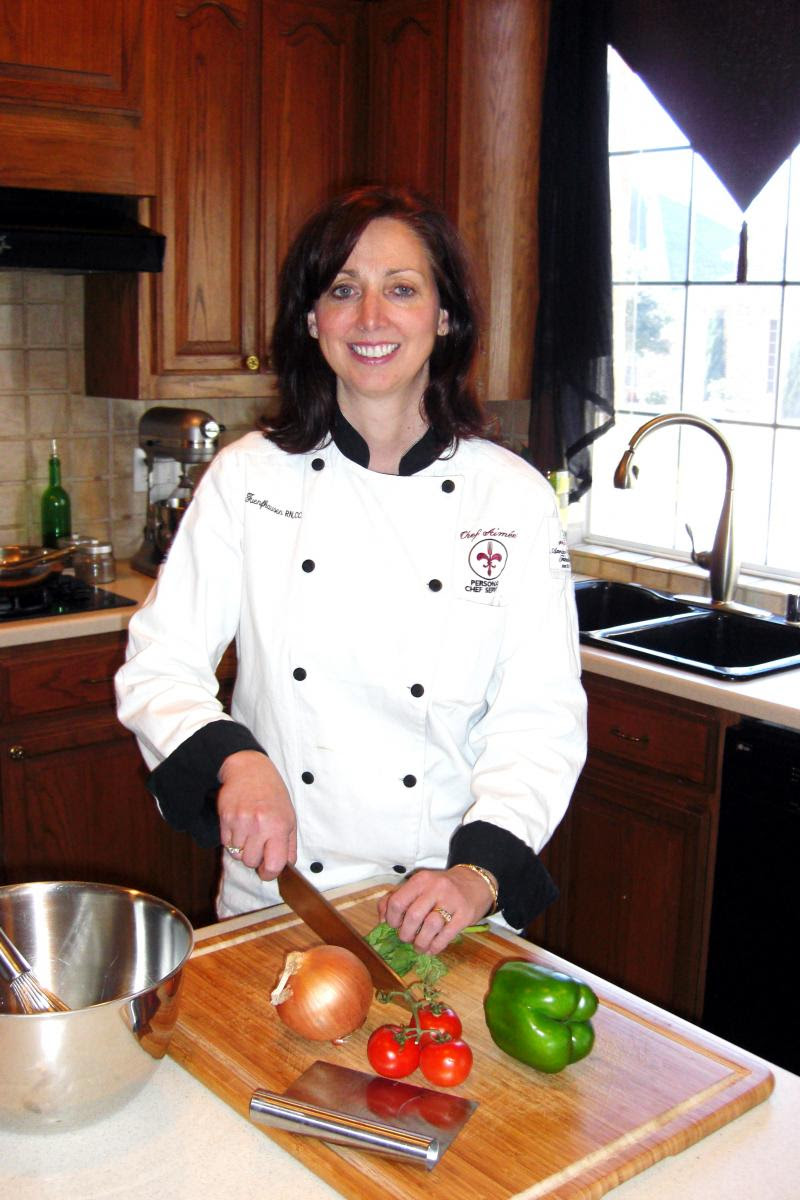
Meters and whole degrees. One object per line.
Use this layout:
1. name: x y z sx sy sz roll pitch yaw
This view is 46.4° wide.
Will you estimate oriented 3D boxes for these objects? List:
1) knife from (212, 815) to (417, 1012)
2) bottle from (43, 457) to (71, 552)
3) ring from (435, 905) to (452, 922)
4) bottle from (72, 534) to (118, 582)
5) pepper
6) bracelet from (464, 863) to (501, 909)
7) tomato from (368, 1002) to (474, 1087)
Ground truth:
1. knife: -0.071 0.269 0.831 0.010 0.056 0.230 -15 33 -29
2. bottle: -0.994 -0.289 2.735 0.078 0.263 0.170 -5 13 -36
3. ring: 0.035 0.255 0.758 0.004 0.011 0.011 -27 -45 21
4. bottle: -0.857 -0.123 2.653 0.116 0.111 0.118 1 13 -2
5. pepper: 0.119 0.338 0.735 0.068 0.077 0.067 15 48 27
6. bracelet: 0.078 0.251 0.832 0.010 0.035 0.037 -16 -12 -17
7. tomato: 0.019 0.327 0.706 0.045 0.031 0.061 7 3 28
